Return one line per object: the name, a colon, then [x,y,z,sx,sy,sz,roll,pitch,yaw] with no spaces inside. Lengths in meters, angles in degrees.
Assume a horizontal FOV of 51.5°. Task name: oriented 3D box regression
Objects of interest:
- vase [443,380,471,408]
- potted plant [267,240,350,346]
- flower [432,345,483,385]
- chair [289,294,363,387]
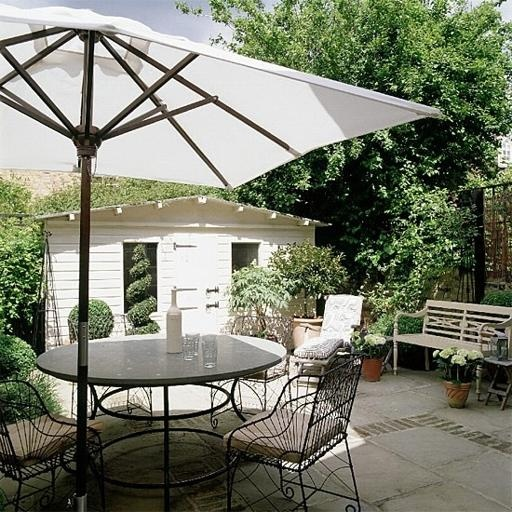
vase: [2.040,1.398,5.397,0.307,0.233,0.266,1,-6,-2]
potted plant: [0.738,0.496,9.063,1.764,1.190,1.347,0,-1,-22]
flower: [2.063,1.110,5.470,0.479,0.248,0.397,-1,-7,-4]
chair: [0.930,0.947,6.819,0.757,0.826,1.466,-2,-4,33]
